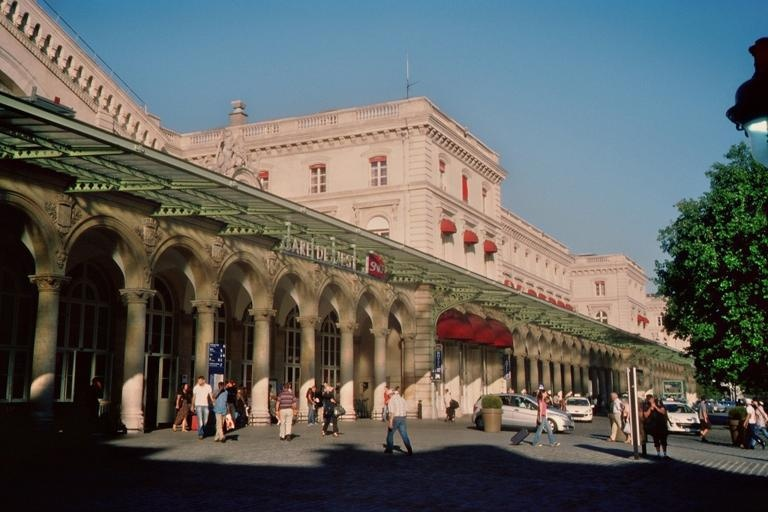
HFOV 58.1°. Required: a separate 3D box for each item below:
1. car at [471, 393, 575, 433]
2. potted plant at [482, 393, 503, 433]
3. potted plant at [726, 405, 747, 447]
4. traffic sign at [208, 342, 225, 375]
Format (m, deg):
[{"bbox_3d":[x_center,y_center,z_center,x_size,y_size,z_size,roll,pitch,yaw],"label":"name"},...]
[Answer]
[{"bbox_3d":[7.177,8.133,35.205,4.146,1.701,2.228,-4,-10,19],"label":"car"},{"bbox_3d":[5.243,7.556,33.160,0.896,1.807,0.937,-2,-18,6],"label":"potted plant"},{"bbox_3d":[15.412,7.301,29.848,0.683,1.802,1.825,-9,-20,25],"label":"potted plant"},{"bbox_3d":[-6.649,4.107,27.378,0.206,1.546,0.917,-14,-24,34],"label":"traffic sign"}]
